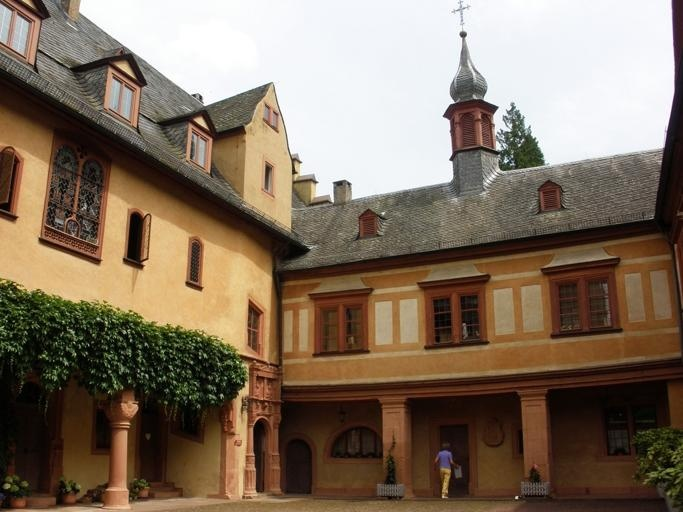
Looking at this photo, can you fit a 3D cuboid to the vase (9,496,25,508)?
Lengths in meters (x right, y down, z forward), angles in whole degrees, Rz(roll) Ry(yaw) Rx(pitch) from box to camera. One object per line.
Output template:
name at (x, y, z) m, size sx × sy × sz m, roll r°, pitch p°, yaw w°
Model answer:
vase at (-7.713, 5.889, 18.675) m, size 0.266 × 0.194 × 0.273 m, roll -22°, pitch -35°, yaw 35°

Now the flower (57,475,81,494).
flower at (-7.062, 5.982, 20.315) m, size 0.445 × 0.252 × 0.456 m, roll 17°, pitch 2°, yaw 41°

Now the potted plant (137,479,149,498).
potted plant at (-5.591, 6.599, 22.130) m, size 0.257 × 0.544 × 0.578 m, roll 1°, pitch -21°, yaw -6°
